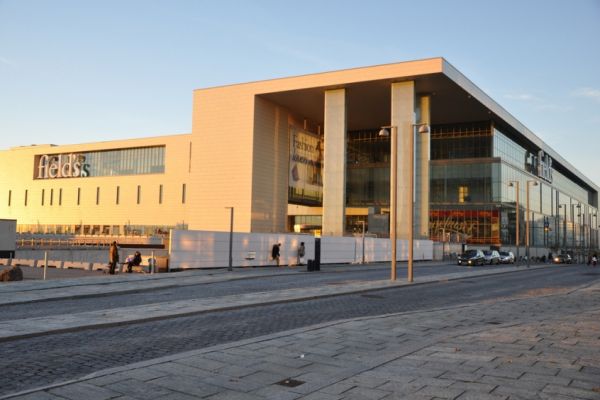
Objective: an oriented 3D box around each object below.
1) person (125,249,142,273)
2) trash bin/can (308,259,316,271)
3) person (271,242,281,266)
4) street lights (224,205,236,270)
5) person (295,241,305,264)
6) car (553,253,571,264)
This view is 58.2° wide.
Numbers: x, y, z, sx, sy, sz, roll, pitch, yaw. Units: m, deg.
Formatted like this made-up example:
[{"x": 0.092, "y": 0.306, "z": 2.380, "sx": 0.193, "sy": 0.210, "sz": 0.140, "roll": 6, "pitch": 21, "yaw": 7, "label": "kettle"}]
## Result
[{"x": -9.862, "y": 3.629, "z": 32.016, "sx": 0.784, "sy": 1.251, "sz": 1.806, "roll": 3, "pitch": -9, "yaw": -19, "label": "person"}, {"x": 0.773, "y": 4.110, "z": 34.839, "sx": 0.525, "sy": 0.642, "sz": 0.247, "roll": 1, "pitch": -9, "yaw": -8, "label": "trash bin/can"}, {"x": -1.678, "y": 3.740, "z": 38.106, "sx": 0.584, "sy": 1.621, "sz": 1.315, "roll": 0, "pitch": -9, "yaw": 0, "label": "person"}, {"x": -4.396, "y": 2.551, "z": 34.162, "sx": 1.050, "sy": 3.859, "sz": 0.579, "roll": 5, "pitch": 13, "yaw": 9, "label": "street lights"}, {"x": 0.064, "y": 3.917, "z": 40.572, "sx": 0.575, "sy": 1.684, "sz": 0.845, "roll": 0, "pitch": -9, "yaw": 0, "label": "person"}, {"x": 37.078, "y": 8.109, "z": 77.679, "sx": 1.960, "sy": 1.367, "sz": 3.729, "roll": -9, "pitch": -14, "yaw": 40, "label": "car"}]
